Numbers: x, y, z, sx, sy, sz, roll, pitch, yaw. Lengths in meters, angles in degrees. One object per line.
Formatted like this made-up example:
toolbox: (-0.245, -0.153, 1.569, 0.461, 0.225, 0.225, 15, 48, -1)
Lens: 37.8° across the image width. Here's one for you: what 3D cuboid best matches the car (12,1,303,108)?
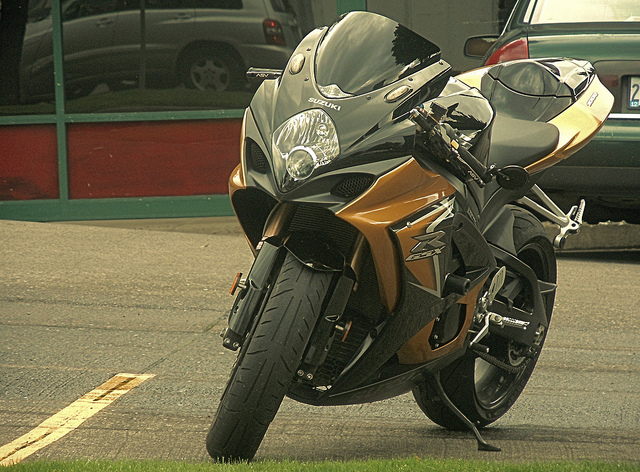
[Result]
car: (-2.087, -2.386, 12.303, 3.957, 1.602, 1.758, 2, 0, -6)
